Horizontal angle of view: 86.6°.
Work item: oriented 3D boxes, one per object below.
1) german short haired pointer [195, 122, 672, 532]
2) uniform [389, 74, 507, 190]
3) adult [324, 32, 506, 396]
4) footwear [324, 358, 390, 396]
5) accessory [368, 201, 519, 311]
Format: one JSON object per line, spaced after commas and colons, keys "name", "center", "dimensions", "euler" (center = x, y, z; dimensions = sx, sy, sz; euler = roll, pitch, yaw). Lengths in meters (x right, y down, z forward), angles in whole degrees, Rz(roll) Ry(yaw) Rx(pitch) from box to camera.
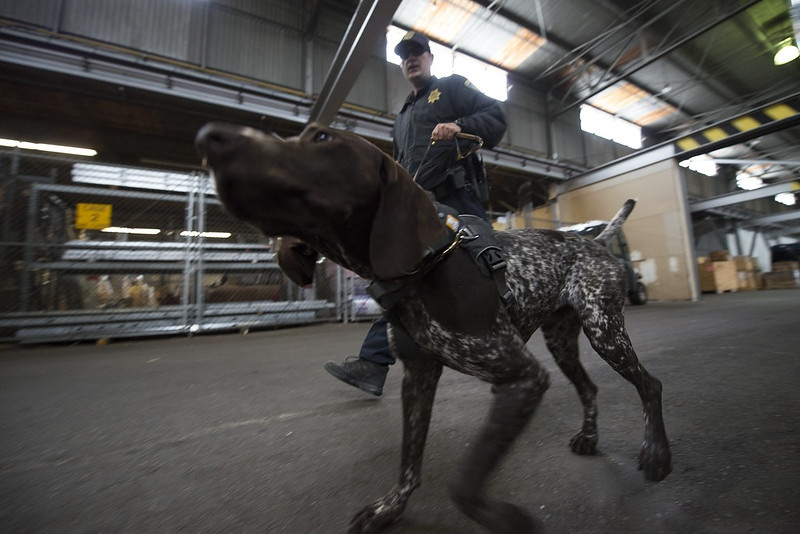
{"name": "german short haired pointer", "center": [0.329, 0.288, 2.061], "dimensions": [2.055, 1.887, 0.841], "euler": [-8, 14, -24]}
{"name": "uniform", "center": [0.292, -0.916, 2.843], "dimensions": [0.769, 0.846, 0.861], "euler": [9, 21, 11]}
{"name": "adult", "center": [0.331, -0.529, 3.307], "dimensions": [1.285, 2.972, 1.065], "euler": [0, 1, 42]}
{"name": "footwear", "center": [-0.318, 0.867, 3.587], "dimensions": [0.659, 0.262, 0.216], "euler": [20, -13, 23]}
{"name": "accessory", "center": [0.291, 0.032, 2.369], "dimensions": [1.216, 0.654, 0.403], "euler": [-3, -12, 7]}
